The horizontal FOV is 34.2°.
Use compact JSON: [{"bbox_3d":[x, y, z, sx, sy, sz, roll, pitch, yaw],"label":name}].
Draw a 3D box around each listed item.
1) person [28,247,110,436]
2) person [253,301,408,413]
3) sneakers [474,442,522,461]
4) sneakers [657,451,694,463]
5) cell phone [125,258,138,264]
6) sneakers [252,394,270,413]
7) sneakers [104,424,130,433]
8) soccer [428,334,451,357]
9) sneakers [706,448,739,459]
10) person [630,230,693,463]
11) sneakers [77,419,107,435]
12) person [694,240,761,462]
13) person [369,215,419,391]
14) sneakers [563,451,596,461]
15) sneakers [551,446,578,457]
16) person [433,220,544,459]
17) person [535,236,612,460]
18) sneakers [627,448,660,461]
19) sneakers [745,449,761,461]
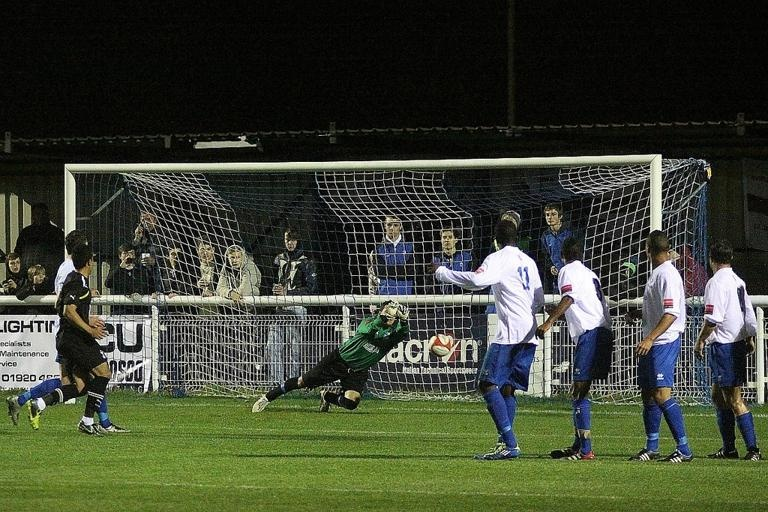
[{"bbox_3d":[-3.959,1.059,15.981,0.910,2.415,0.674,2,-8,-12],"label":"person"},{"bbox_3d":[-0.575,1.467,17.247,2.669,1.223,0.877,-24,-34,35],"label":"person"},{"bbox_3d":[1.370,2.300,14.822,0.619,0.241,0.200,1,-12,0],"label":"sneakers"},{"bbox_3d":[3.444,2.356,14.757,0.397,0.148,0.136,0,-4,-1],"label":"sneakers"},{"bbox_3d":[-3.965,0.065,19.715,0.087,0.105,0.170,17,-7,-32],"label":"cell phone"},{"bbox_3d":[-1.765,2.109,17.991,0.170,0.137,0.376,17,-47,-25],"label":"sneakers"},{"bbox_3d":[-3.465,2.238,16.288,0.339,0.122,0.110,1,1,-8],"label":"sneakers"},{"bbox_3d":[0.858,1.299,18.565,0.292,0.267,0.331,0,2,-8],"label":"soccer"},{"bbox_3d":[4.088,2.381,15.114,0.399,0.148,0.131,1,-4,11],"label":"sneakers"},{"bbox_3d":[3.258,1.020,14.818,0.684,2.788,0.659,-2,-8,12],"label":"person"},{"bbox_3d":[-3.756,2.208,16.049,0.418,0.173,0.144,8,31,-26],"label":"sneakers"},{"bbox_3d":[4.178,1.146,15.234,0.726,2.620,0.622,-1,-8,7],"label":"person"},{"bbox_3d":[0.159,0.212,19.477,0.754,1.609,0.439,-3,-11,5],"label":"person"},{"bbox_3d":[2.329,2.361,14.870,0.366,0.135,0.119,1,-3,4],"label":"sneakers"},{"bbox_3d":[2.136,2.327,14.896,0.330,0.129,0.114,1,4,3],"label":"sneakers"},{"bbox_3d":[1.378,0.953,15.022,1.092,2.908,0.530,1,-8,-4],"label":"person"},{"bbox_3d":[2.334,1.071,14.961,0.780,2.663,0.321,-1,-8,8],"label":"person"},{"bbox_3d":[3.084,2.352,14.833,0.390,0.143,0.132,0,-7,3],"label":"sneakers"},{"bbox_3d":[4.403,2.358,14.884,0.235,0.139,0.203,0,-8,-3],"label":"sneakers"}]
